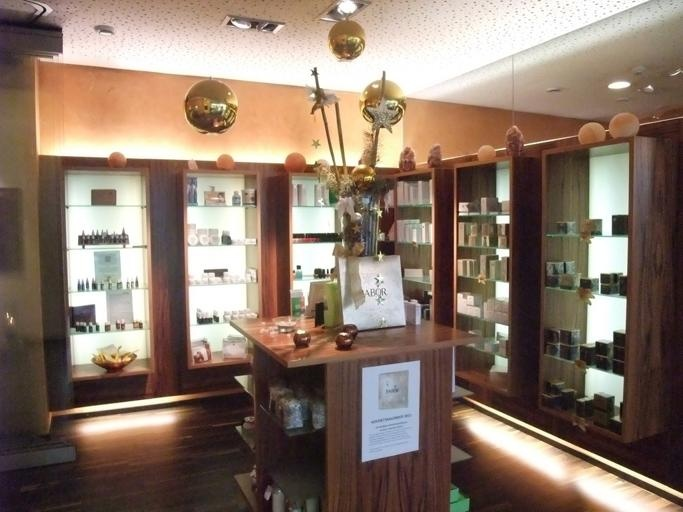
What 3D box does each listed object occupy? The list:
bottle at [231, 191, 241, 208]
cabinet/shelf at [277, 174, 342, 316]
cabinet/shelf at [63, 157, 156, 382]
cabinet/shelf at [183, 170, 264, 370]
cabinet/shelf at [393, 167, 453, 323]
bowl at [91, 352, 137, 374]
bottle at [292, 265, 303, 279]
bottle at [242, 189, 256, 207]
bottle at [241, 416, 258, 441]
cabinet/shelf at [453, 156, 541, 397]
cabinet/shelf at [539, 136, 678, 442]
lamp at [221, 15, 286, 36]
[{"bbox_3d":[-1.208,-0.663,6.144,0.115,0.161,0.136,-3,11,-11],"label":"bottle"},{"bbox_3d":[-0.330,-0.154,6.045,0.588,1.521,1.554,-1,11,-1],"label":"cabinet/shelf"},{"bbox_3d":[-2.477,0.290,5.703,0.844,2.254,0.311,-2,21,-22],"label":"cabinet/shelf"},{"bbox_3d":[-1.387,0.218,6.145,0.834,2.225,0.316,-3,8,-27],"label":"cabinet/shelf"},{"bbox_3d":[0.988,-0.137,6.165,0.431,1.745,0.870,-4,11,-19],"label":"cabinet/shelf"},{"bbox_3d":[-2.391,1.103,5.625,0.269,0.127,0.251,2,0,0],"label":"bowl"},{"bbox_3d":[-0.516,0.194,6.302,0.130,0.254,0.134,0,4,0],"label":"bottle"},{"bbox_3d":[-1.060,-0.657,6.123,0.194,0.192,0.056,3,11,16],"label":"bottle"},{"bbox_3d":[-0.727,1.348,4.219,0.214,0.106,0.296,1,3,-11],"label":"bottle"},{"bbox_3d":[1.623,0.181,5.406,0.560,2.342,1.004,-5,11,-22],"label":"cabinet/shelf"},{"bbox_3d":[2.251,0.228,4.562,0.645,2.419,1.115,-7,12,-31],"label":"cabinet/shelf"},{"bbox_3d":[-0.817,-2.149,4.973,0.544,0.076,0.281,-4,11,-17],"label":"lamp"}]
